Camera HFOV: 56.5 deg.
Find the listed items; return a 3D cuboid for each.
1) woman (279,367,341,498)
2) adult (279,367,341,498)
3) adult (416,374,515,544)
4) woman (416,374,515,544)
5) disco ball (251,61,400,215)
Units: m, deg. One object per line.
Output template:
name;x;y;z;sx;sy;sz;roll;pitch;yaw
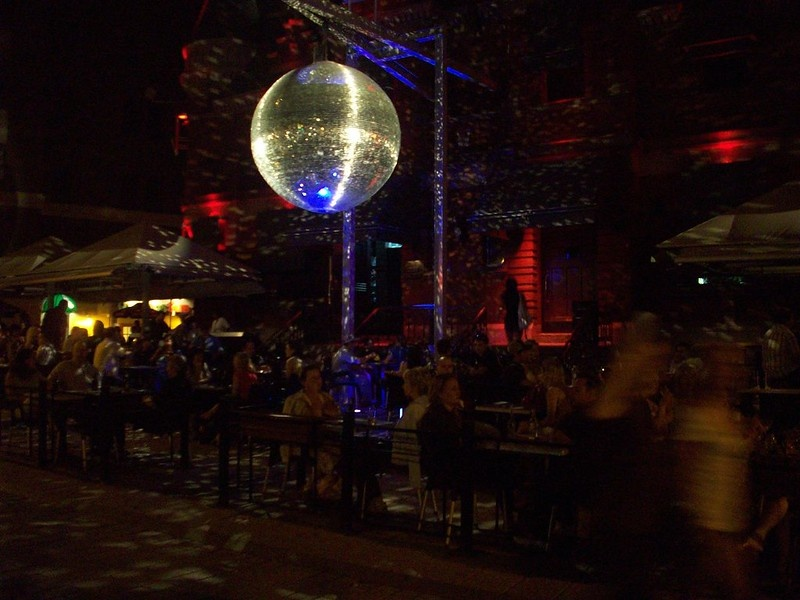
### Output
woman;-1.102;1.652;9.415;0.781;1.640;0.981;3;-6;-9
adult;-1.103;1.652;9.416;0.781;1.640;0.978;3;-6;-9
adult;0.642;1.724;8.183;0.990;1.779;0.579;-3;-8;41
woman;0.639;1.724;8.179;0.987;1.779;0.592;-3;-8;43
disco ball;-0.880;-1.962;9.031;1.856;1.879;1.776;5;7;-1
